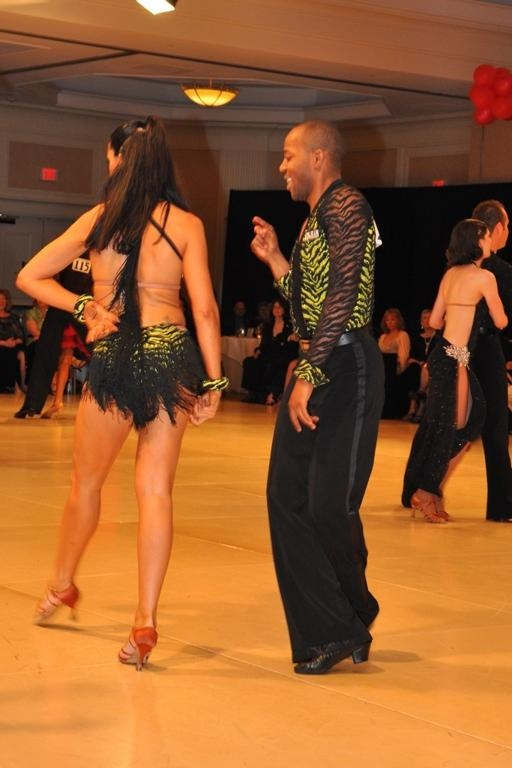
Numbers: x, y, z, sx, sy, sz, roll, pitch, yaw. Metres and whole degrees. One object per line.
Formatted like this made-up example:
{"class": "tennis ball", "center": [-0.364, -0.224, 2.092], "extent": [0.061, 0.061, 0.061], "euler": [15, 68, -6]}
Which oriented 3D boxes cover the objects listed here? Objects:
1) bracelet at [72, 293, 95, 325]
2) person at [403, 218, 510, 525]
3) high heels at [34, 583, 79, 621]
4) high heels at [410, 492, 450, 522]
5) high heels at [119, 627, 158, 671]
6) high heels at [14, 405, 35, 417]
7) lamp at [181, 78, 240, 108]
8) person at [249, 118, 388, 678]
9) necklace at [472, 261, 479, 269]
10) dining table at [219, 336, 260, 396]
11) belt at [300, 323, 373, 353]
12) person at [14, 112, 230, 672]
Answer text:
{"class": "bracelet", "center": [-0.488, -0.205, 1.752], "extent": [0.033, 0.075, 0.060], "euler": [15, 17, 12]}
{"class": "person", "center": [1.332, -0.104, 4.199], "extent": [0.433, 2.032, 0.650], "euler": [7, -6, -34]}
{"class": "high heels", "center": [-0.638, 0.712, 2.045], "extent": [0.092, 0.070, 0.198], "euler": [10, -35, -18]}
{"class": "high heels", "center": [1.176, 0.809, 4.236], "extent": [0.121, 0.164, 0.348], "euler": [-12, 9, -29]}
{"class": "high heels", "center": [-0.307, 0.672, 1.627], "extent": [0.069, 0.081, 0.177], "euler": [1, -2, -14]}
{"class": "high heels", "center": [-3.074, 0.376, 8.393], "extent": [0.141, 0.159, 0.363], "euler": [-5, 5, -31]}
{"class": "lamp", "center": [-0.818, -5.116, 11.089], "extent": [0.946, 0.414, 0.371], "euler": [4, -4, -9]}
{"class": "person", "center": [0.167, 0.047, 1.662], "extent": [0.423, 1.436, 0.385], "euler": [4, -5, -1]}
{"class": "necklace", "center": [1.420, -0.759, 4.086], "extent": [0.030, 0.031, 0.038], "euler": [-22, 25, 0]}
{"class": "dining table", "center": [-0.556, -0.371, 12.034], "extent": [0.911, 0.941, 0.825], "euler": [5, -2, -36]}
{"class": "belt", "center": [0.199, -0.106, 1.604], "extent": [0.117, 0.038, 0.081], "euler": [-12, 0, -18]}
{"class": "person", "center": [-0.386, -0.004, 1.824], "extent": [0.579, 1.495, 0.346], "euler": [1, -6, 35]}
